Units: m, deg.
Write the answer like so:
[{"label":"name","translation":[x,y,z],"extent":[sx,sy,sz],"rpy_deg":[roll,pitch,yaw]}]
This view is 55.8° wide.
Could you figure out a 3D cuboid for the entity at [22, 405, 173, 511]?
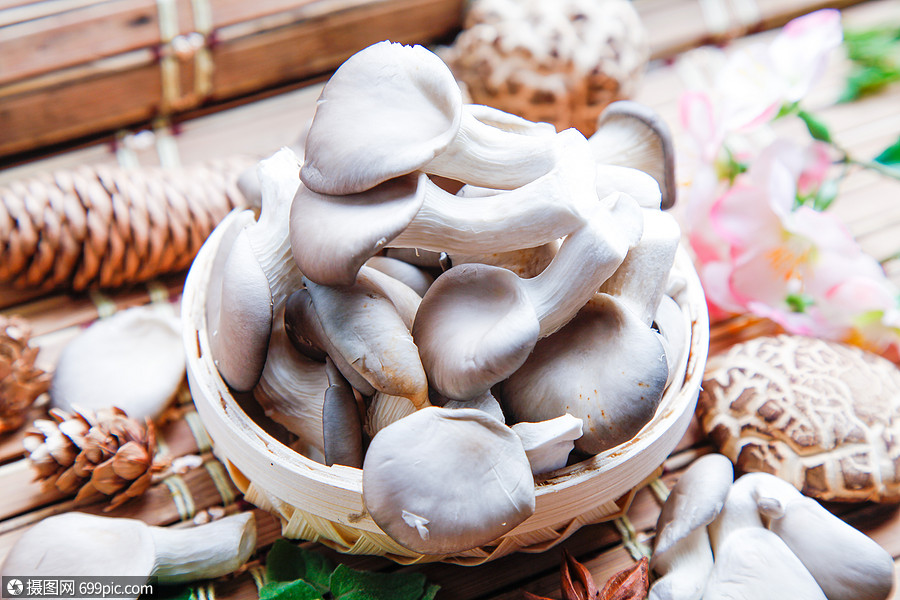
[{"label":"entity","translation":[-0.533,0.215,1.318],"extent":[0.194,0.127,0.150],"rpy_deg":[9,6,6]}]

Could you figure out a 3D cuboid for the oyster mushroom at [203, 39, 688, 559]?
[{"label":"oyster mushroom","translation":[0.026,0.001,1.281],"extent":[0.633,0.398,0.680],"rpy_deg":[-21,75,6]}]
